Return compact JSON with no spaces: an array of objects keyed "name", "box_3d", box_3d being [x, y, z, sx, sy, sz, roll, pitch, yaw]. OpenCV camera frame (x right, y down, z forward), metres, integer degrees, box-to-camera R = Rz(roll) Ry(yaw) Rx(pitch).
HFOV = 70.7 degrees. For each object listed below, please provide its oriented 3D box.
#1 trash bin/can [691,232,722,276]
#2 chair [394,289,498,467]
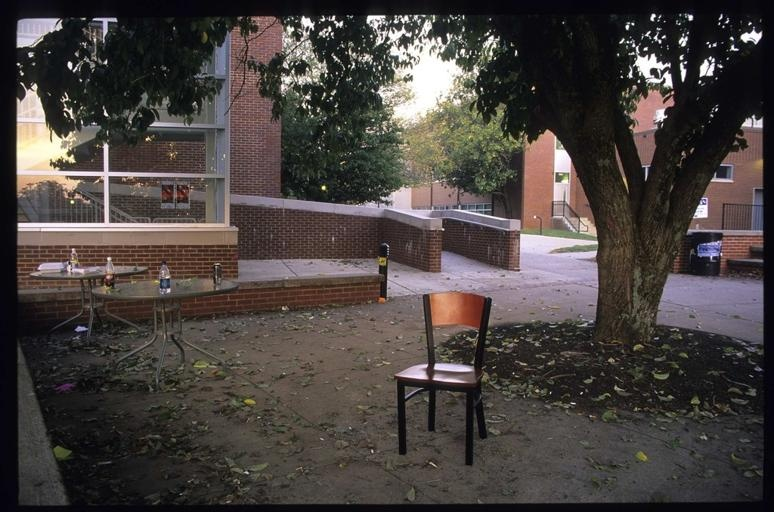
[{"name":"trash bin/can","box_3d":[9.908,-0.109,17.003,0.877,1.341,0.519,3,5,26]},{"name":"chair","box_3d":[0.688,1.286,6.417,1.027,1.737,1.380,2,4,9]}]
